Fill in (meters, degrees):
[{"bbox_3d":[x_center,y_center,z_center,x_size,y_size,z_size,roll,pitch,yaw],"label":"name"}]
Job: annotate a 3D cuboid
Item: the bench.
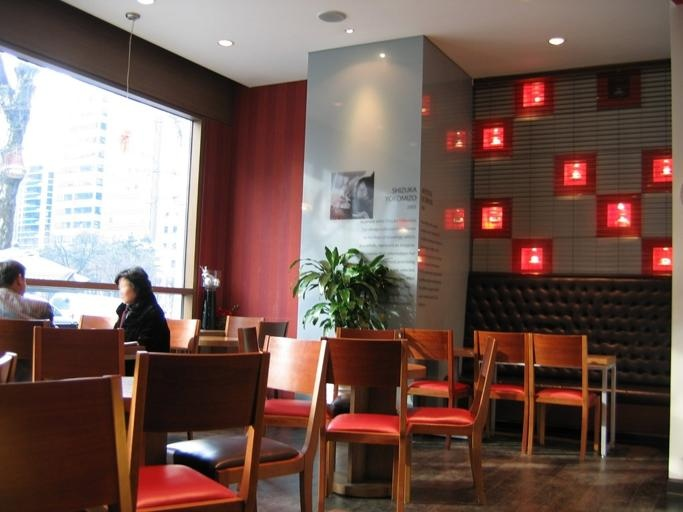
[{"bbox_3d":[2.639,1.516,6.551,2.626,2.224,1.475,-2,-8,25],"label":"bench"}]
